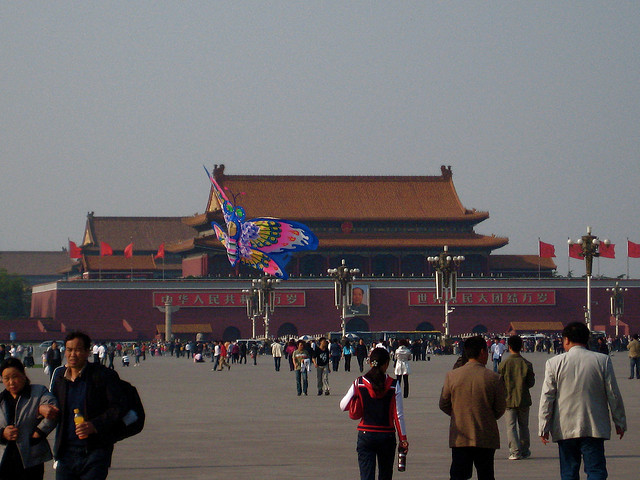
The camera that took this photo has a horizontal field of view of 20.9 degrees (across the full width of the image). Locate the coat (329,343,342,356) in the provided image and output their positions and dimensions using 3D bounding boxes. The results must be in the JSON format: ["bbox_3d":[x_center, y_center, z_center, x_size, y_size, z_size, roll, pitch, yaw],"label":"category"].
[{"bbox_3d":[0.443,3.183,50.608,0.255,0.379,0.552,-2,-6,3],"label":"coat"}]

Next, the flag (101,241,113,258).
[{"bbox_3d":[-10.410,0.480,84.748,0.751,0.995,0.165,3,-8,-36],"label":"flag"}]

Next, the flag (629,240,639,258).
[{"bbox_3d":[14.205,0.451,78.650,0.440,0.792,2.113,-2,-6,10],"label":"flag"}]

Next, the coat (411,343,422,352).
[{"bbox_3d":[3.392,3.788,61.454,0.294,0.283,0.527,2,13,5],"label":"coat"}]

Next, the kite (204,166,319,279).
[{"bbox_3d":[-2.366,-0.378,74.360,4.031,4.043,2.417,-2,-6,5],"label":"kite"}]

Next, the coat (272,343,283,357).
[{"bbox_3d":[-1.275,3.265,51.578,0.242,0.420,0.626,0,-6,-7],"label":"coat"}]

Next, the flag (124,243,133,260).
[{"bbox_3d":[-9.455,0.564,85.782,0.742,0.887,0.115,8,38,12],"label":"flag"}]

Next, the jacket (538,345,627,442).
[{"bbox_3d":[4.674,2.795,31.302,1.152,1.851,0.972,0,1,18],"label":"jacket"}]

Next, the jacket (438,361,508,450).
[{"bbox_3d":[2.789,3.385,31.723,1.111,2.794,0.970,1,-5,7],"label":"jacket"}]

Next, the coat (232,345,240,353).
[{"bbox_3d":[-2.821,3.645,57.999,0.288,0.359,0.198,2,2,-3],"label":"coat"}]

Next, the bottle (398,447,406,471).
[{"bbox_3d":[1.477,3.943,31.305,0.127,0.405,0.216,-1,-6,-3],"label":"bottle"}]

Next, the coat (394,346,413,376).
[{"bbox_3d":[1.954,2.900,41.071,0.419,0.951,0.407,0,-1,4],"label":"coat"}]

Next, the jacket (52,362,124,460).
[{"bbox_3d":[-4.099,3.061,30.632,1.013,1.718,1.120,-1,-1,-15],"label":"jacket"}]
